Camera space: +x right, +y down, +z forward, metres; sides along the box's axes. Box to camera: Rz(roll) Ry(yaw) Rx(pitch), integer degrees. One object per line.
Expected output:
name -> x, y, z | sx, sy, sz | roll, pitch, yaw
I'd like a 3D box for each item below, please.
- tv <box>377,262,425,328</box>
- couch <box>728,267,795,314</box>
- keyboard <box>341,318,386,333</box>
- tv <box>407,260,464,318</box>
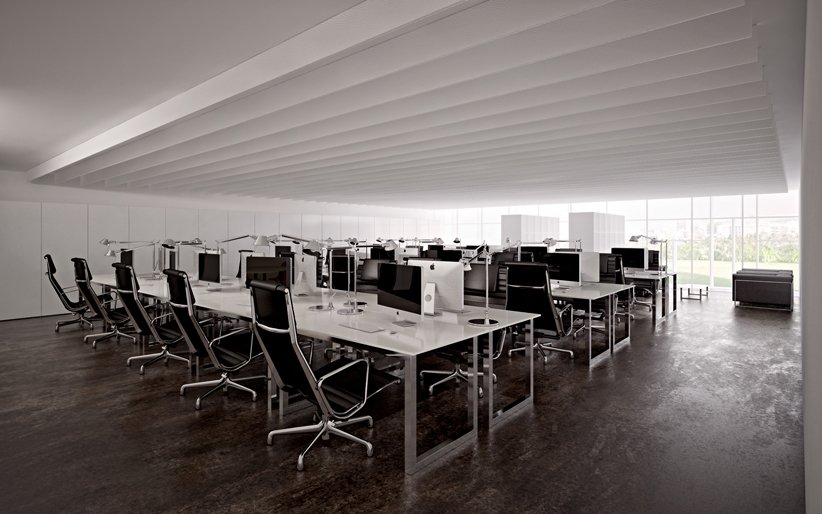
tv -> -0.025, 0.412, 5.853 | 0.317, 0.681, 0.990 | -2, 3, -33
couch -> 8.486, 0.828, 11.223 | 1.087, 0.725, 1.429 | 2, -1, -21
keyboard -> -0.568, 0.804, 5.638 | 0.405, 0.143, 0.556 | 0, 0, -34
tv -> 0.301, 0.342, 6.050 | 0.456, 0.603, 0.921 | -6, 8, -40
